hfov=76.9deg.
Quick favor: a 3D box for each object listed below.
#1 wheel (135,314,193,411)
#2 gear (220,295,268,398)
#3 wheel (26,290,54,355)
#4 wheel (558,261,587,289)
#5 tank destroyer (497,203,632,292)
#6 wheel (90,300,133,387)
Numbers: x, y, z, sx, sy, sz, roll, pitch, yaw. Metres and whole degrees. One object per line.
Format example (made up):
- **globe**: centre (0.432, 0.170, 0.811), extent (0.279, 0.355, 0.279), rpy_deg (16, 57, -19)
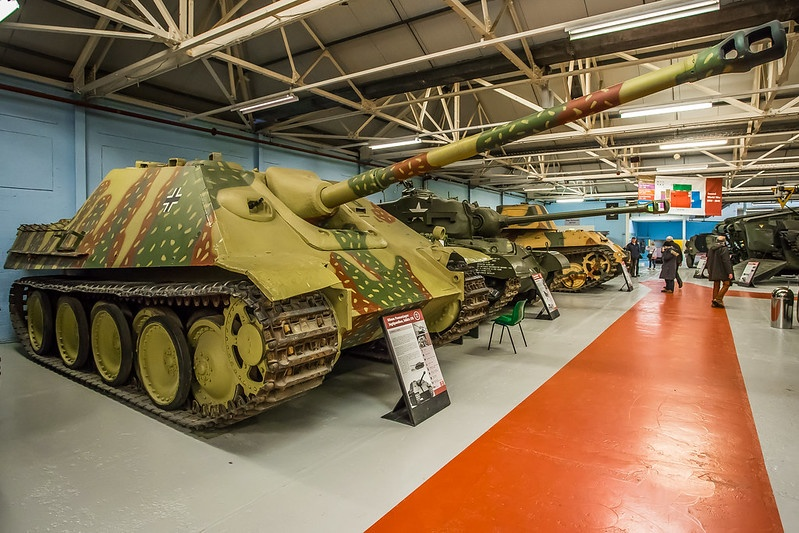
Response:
- **wheel**: centre (-3.534, 1.388, 7.643), extent (0.324, 1.487, 1.293), rpy_deg (-4, 10, -43)
- **gear**: centre (-2.076, 1.005, 6.821), extent (0.155, 1.031, 1.034), rpy_deg (-5, -34, -36)
- **wheel**: centre (-6.859, 1.014, 9.646), extent (0.168, 1.148, 0.998), rpy_deg (-2, 19, -40)
- **wheel**: centre (6.411, 0.260, 18.539), extent (1.054, 1.040, 0.379), rpy_deg (-7, -1, 16)
- **tank destroyer**: centre (6.347, -0.753, 18.517), extent (4.743, 2.522, 3.054), rpy_deg (-4, 1, 23)
- **wheel**: centre (-4.725, 1.202, 8.310), extent (0.277, 1.598, 1.387), rpy_deg (-7, 7, -43)
